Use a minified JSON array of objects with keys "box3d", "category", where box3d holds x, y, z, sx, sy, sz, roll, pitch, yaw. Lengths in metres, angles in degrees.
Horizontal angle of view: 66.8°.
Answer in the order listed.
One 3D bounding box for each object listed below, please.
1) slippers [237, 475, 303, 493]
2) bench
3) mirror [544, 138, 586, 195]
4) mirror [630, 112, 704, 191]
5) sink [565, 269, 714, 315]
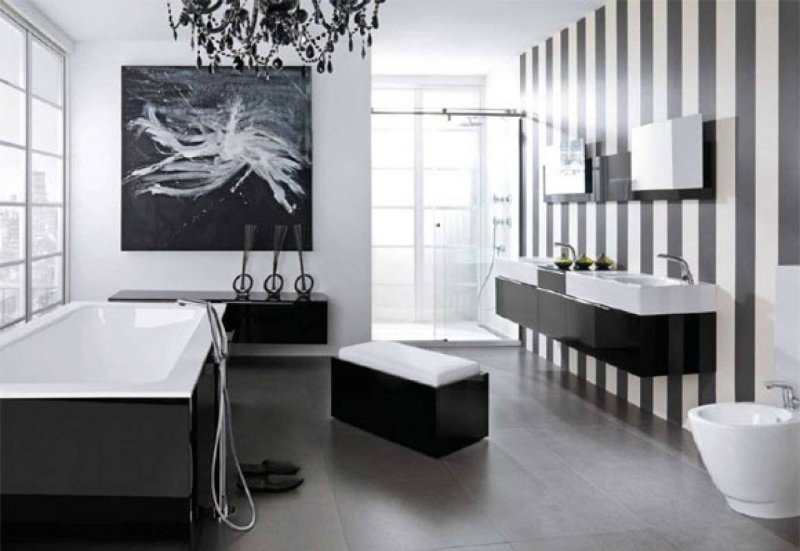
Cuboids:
[{"box3d":[-0.799,1.310,3.801,0.249,0.038,0.132,-1,4,2],"category":"slippers"},{"box3d":[0.049,0.884,4.572,1.138,0.601,0.555,8,13,34],"category":"bench"},{"box3d":[1.669,-1.090,6.025,0.068,0.640,0.697,-13,16,-33],"category":"mirror"},{"box3d":[2.089,-0.951,4.697,0.069,0.516,0.684,-2,2,-23],"category":"mirror"},{"box3d":[1.776,0.157,4.711,0.420,0.284,1.176,-10,15,-43],"category":"sink"}]
